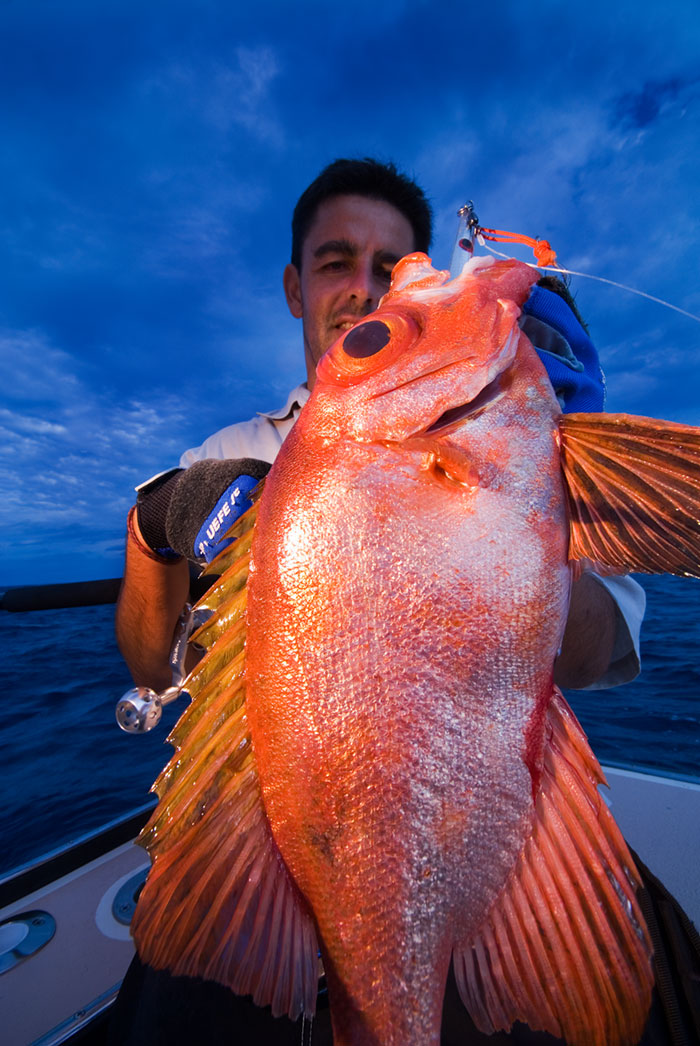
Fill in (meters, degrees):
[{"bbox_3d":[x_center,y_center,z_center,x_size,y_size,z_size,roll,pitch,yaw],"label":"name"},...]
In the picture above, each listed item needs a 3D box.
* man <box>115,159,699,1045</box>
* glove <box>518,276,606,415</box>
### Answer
[{"bbox_3d":[0.083,-0.050,2.900,1.789,2.877,1.292,-1,-12,5],"label":"man"},{"bbox_3d":[0.524,-0.512,2.312,0.220,0.089,0.289,28,-6,18],"label":"glove"}]
